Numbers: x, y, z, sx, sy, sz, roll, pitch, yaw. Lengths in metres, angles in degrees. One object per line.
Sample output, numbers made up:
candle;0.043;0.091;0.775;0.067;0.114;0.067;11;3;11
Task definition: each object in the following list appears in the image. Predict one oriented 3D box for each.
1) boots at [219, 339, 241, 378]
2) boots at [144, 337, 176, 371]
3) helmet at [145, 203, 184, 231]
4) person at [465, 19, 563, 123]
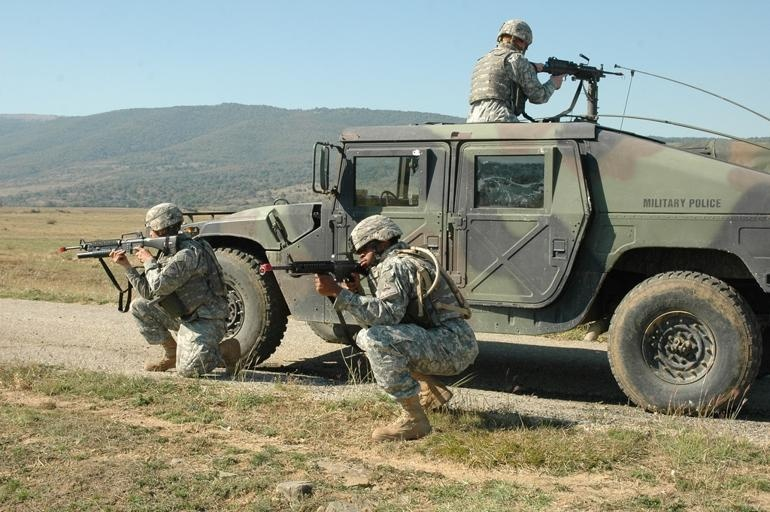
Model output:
boots;-1.895;1.202;9.737;0.289;0.334;0.376;-11;8;-12
boots;-2.678;1.232;10.023;0.382;0.378;0.181;-10;-29;-4
helmet;-2.558;-0.469;9.495;0.336;0.266;0.333;13;20;31
person;1.581;-2.272;10.181;0.986;1.237;0.553;-3;8;-35
